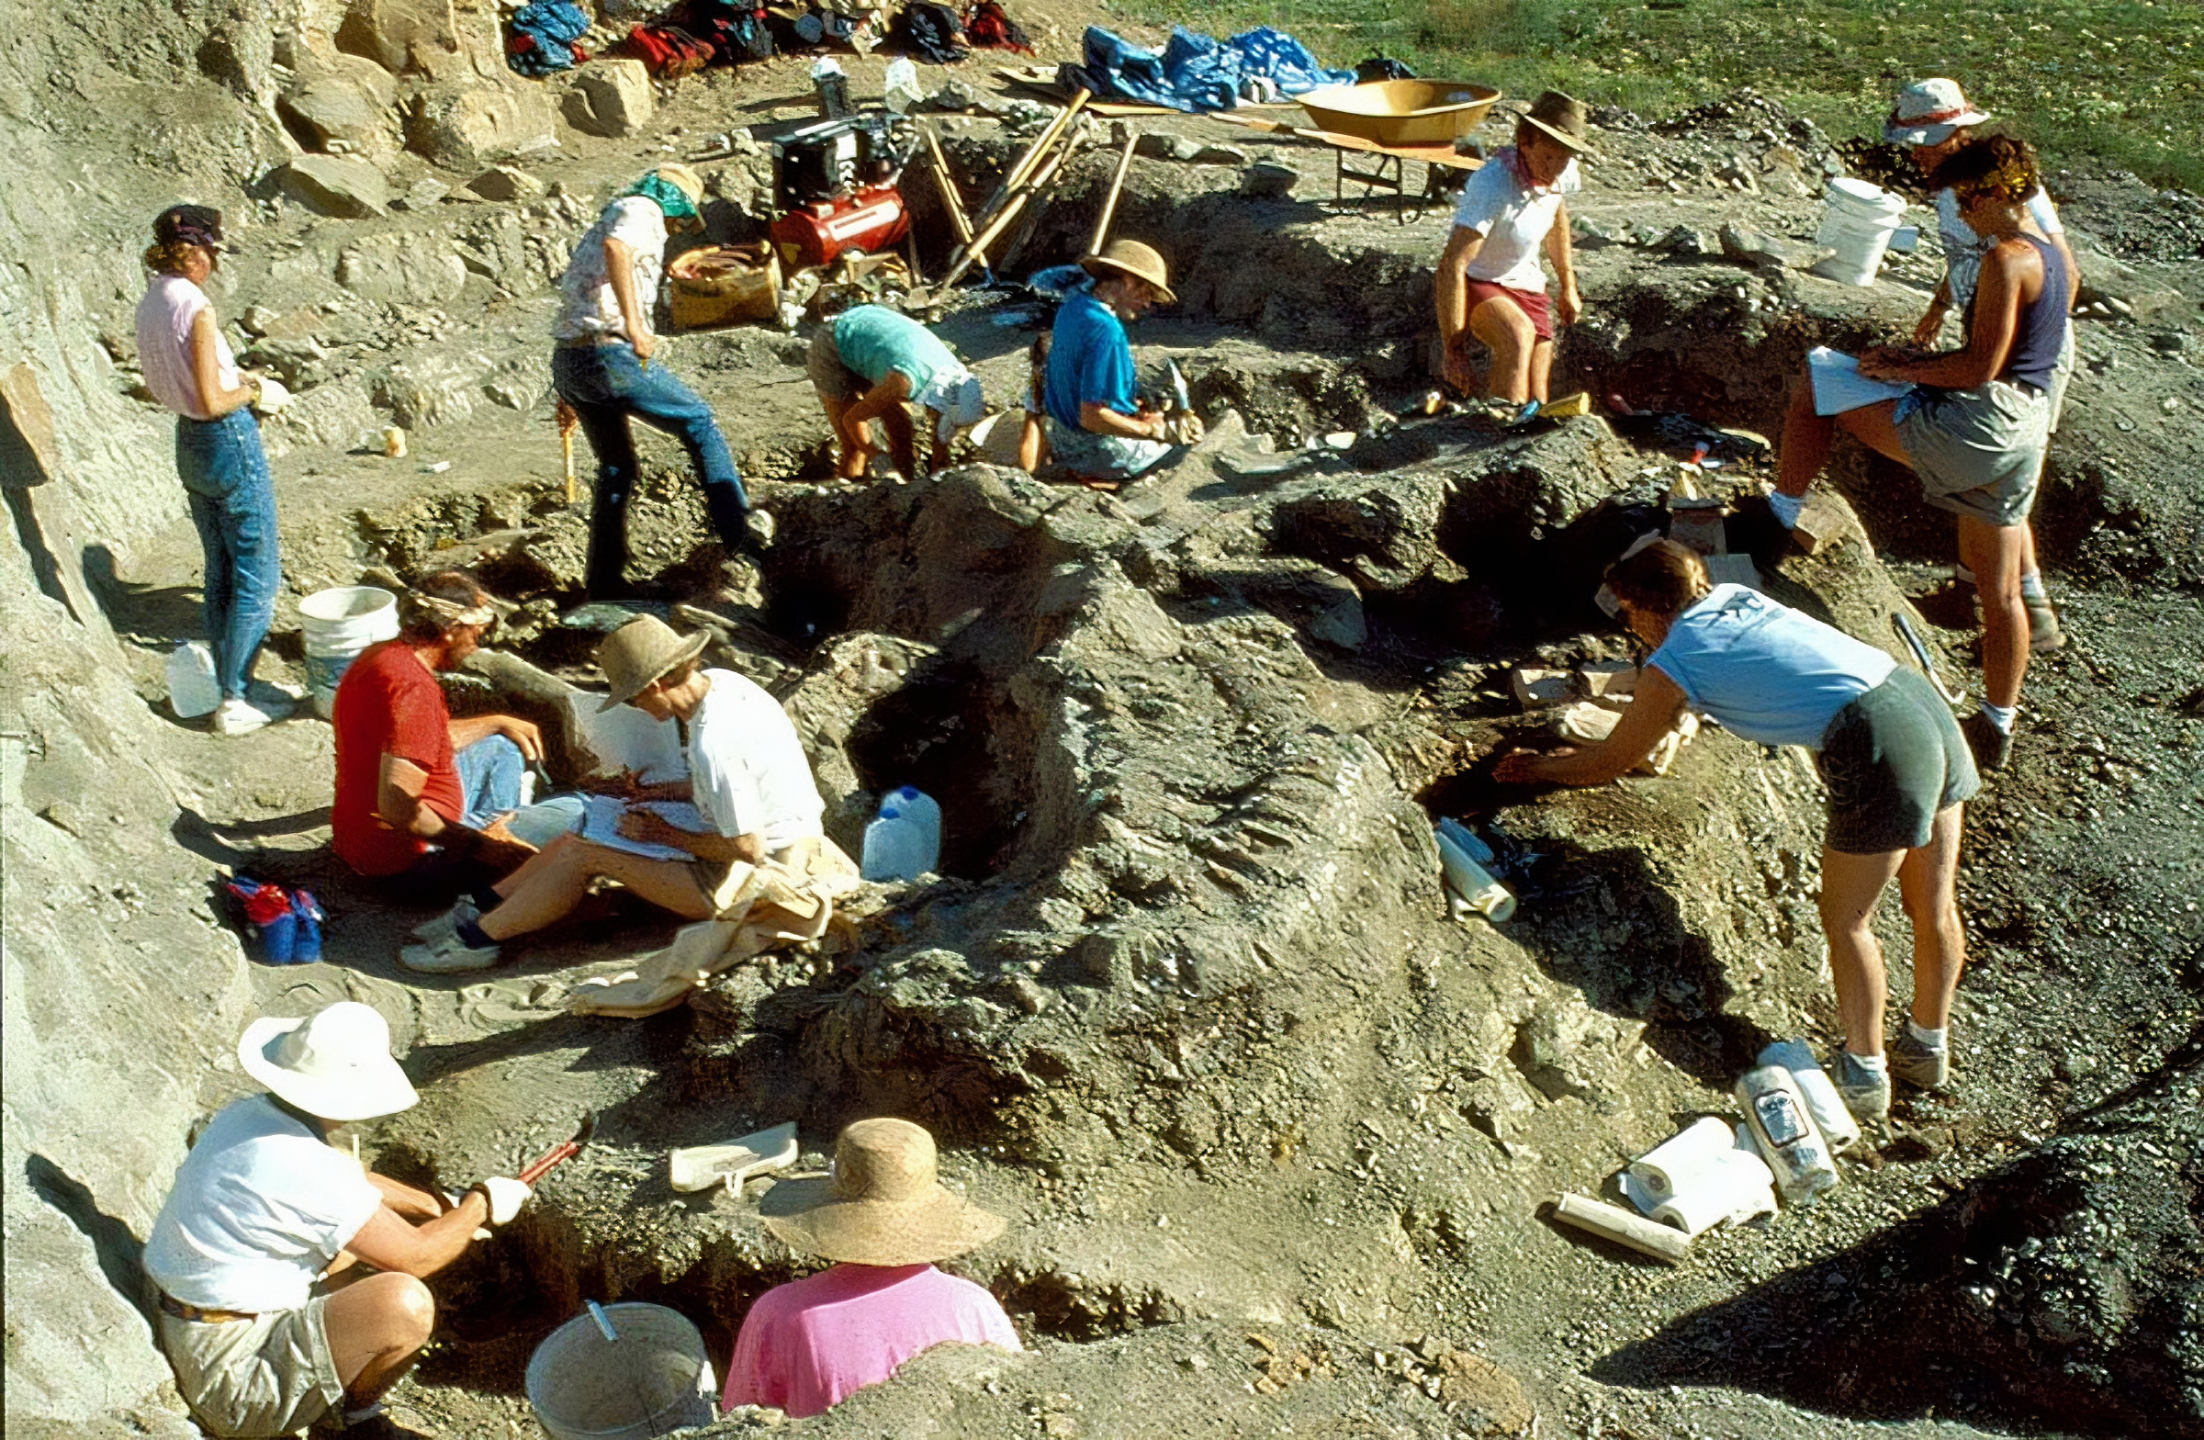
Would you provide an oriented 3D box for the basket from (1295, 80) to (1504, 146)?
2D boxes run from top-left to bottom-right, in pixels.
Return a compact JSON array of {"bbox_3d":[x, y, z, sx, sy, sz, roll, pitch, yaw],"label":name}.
[{"bbox_3d":[2.115,-4.288,15.299,0.954,0.242,1.222,10,22,31],"label":"basket"}]

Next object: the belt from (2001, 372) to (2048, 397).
[{"bbox_3d":[4.411,-1.605,10.339,0.250,0.079,0.049,0,29,-20],"label":"belt"}]

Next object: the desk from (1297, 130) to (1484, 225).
[{"bbox_3d":[2.045,-3.864,15.383,0.893,0.397,1.343,-15,33,-22],"label":"desk"}]

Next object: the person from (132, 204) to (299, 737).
[{"bbox_3d":[-4.443,-1.242,10.914,0.524,2.550,0.893,-13,36,-39],"label":"person"}]

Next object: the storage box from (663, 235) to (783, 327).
[{"bbox_3d":[-2.653,-3.079,15.256,0.725,0.368,0.685,-7,34,-7],"label":"storage box"}]

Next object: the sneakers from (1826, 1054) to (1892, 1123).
[{"bbox_3d":[3.366,1.621,9.559,0.213,0.281,0.291,-7,3,-2],"label":"sneakers"}]

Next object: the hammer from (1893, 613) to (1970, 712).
[{"bbox_3d":[4.074,-0.277,10.648,0.175,0.185,0.475,-26,74,-14],"label":"hammer"}]

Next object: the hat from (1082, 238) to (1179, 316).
[{"bbox_3d":[0.134,-2.449,11.852,0.453,0.322,0.414,12,27,2],"label":"hat"}]

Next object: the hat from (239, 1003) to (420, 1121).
[{"bbox_3d":[-3.081,1.333,8.575,0.686,0.416,0.367,14,27,6],"label":"hat"}]

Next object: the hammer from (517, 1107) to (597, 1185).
[{"bbox_3d":[-2.281,1.820,9.252,0.125,0.133,0.487,-17,30,53],"label":"hammer"}]

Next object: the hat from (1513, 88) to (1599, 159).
[{"bbox_3d":[2.399,-3.181,11.561,0.352,0.304,0.581,14,27,7],"label":"hat"}]

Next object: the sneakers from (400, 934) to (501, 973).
[{"bbox_3d":[-2.980,1.081,9.948,0.429,0.161,0.168,-4,59,-9],"label":"sneakers"}]

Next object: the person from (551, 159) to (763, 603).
[{"bbox_3d":[-2.529,-1.750,11.977,1.020,2.167,0.699,29,32,30],"label":"person"}]

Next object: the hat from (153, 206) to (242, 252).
[{"bbox_3d":[-4.476,-2.414,10.654,0.268,0.267,0.341,4,28,-13],"label":"hat"}]

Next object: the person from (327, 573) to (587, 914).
[{"bbox_3d":[-3.130,0.169,10.452,0.875,1.356,0.851,-25,62,-39],"label":"person"}]

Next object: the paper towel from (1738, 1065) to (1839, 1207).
[{"bbox_3d":[2.976,1.797,9.415,0.348,0.201,0.552,-29,73,5],"label":"paper towel"}]

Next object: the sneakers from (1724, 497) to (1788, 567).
[{"bbox_3d":[3.291,-0.951,10.957,0.294,0.142,0.359,-3,67,-1],"label":"sneakers"}]

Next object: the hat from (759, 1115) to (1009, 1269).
[{"bbox_3d":[-0.864,1.843,8.261,0.693,0.230,0.647,-10,23,-40],"label":"hat"}]

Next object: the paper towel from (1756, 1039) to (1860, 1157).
[{"bbox_3d":[3.133,1.634,9.523,0.168,0.312,0.539,14,39,-58],"label":"paper towel"}]

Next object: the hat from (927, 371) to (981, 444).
[{"bbox_3d":[-0.870,-1.836,12.833,0.352,0.423,0.190,26,31,27],"label":"hat"}]

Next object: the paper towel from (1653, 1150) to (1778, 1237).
[{"bbox_3d":[2.643,2.040,9.322,0.564,0.275,0.219,-5,31,-28],"label":"paper towel"}]

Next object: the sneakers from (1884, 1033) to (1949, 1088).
[{"bbox_3d":[3.658,1.530,9.706,0.168,0.206,0.313,-1,30,7],"label":"sneakers"}]

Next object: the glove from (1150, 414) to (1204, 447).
[{"bbox_3d":[0.447,-1.638,12.246,0.246,0.076,0.252,24,25,34],"label":"glove"}]

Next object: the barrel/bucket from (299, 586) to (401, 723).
[{"bbox_3d":[-3.736,-0.324,10.785,0.531,0.542,0.521,4,33,-2],"label":"barrel/bucket"}]

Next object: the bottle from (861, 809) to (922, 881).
[{"bbox_3d":[-0.969,0.603,10.106,0.277,0.224,0.306,-8,33,-33],"label":"bottle"}]

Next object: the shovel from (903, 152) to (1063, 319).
[{"bbox_3d":[-0.828,-3.578,15.779,0.220,0.929,1.495,25,30,23],"label":"shovel"}]

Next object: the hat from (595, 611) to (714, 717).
[{"bbox_3d":[-2.014,-0.223,9.654,0.420,0.489,0.304,4,28,-13],"label":"hat"}]

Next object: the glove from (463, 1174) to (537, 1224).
[{"bbox_3d":[-2.492,1.951,8.975,0.204,0.207,0.214,6,4,-10],"label":"glove"}]

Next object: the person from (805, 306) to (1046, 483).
[{"bbox_3d":[-1.084,-1.933,13.080,1.010,1.133,0.735,30,68,14],"label":"person"}]
